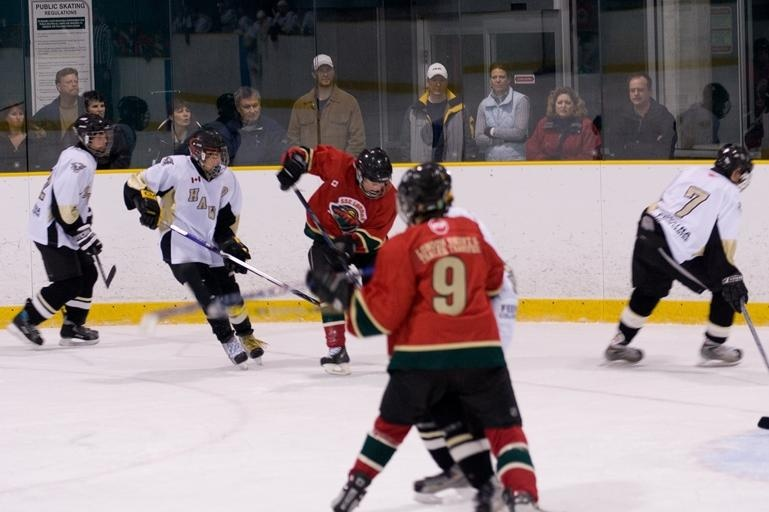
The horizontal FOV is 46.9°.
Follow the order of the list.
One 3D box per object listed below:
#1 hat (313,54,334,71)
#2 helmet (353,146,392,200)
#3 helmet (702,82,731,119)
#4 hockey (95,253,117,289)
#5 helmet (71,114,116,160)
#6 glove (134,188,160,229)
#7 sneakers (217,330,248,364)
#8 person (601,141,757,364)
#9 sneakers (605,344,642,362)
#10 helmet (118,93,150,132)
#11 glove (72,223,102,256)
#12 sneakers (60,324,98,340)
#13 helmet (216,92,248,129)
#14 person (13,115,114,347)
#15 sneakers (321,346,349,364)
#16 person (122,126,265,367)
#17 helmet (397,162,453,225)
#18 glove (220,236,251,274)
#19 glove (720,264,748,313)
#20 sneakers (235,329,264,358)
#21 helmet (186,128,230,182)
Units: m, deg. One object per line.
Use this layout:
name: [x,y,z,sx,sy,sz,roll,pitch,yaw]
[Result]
hat: [-0.533,-1.664,7.692,0.125,0.088,0.165,-1,-3,-2]
helmet: [-0.105,-0.584,5.969,0.276,0.292,0.297,-11,-34,-16]
helmet: [2.758,-1.317,7.447,0.270,0.257,0.203,6,23,6]
hockey: [-2.316,0.145,7.495,0.079,0.230,0.285,-22,45,-31]
helmet: [-2.229,-0.919,6.850,0.275,0.323,0.194,-5,13,-17]
glove: [-1.619,-0.308,6.143,0.102,0.262,0.168,-31,-26,29]
sneakers: [-1.098,0.674,6.401,0.102,0.117,0.293,-40,50,-2]
person: [2.108,0.001,6.288,0.855,1.524,0.462,3,13,18]
sneakers: [1.720,0.705,6.354,0.192,0.080,0.141,5,-5,-27]
helmet: [-2.192,-1.245,7.783,0.318,0.296,0.246,-1,12,-29]
glove: [-2.346,-0.130,6.986,0.188,0.233,0.113,-35,29,-24]
sneakers: [-2.461,0.621,7.162,0.259,0.159,0.131,-1,4,-15]
helmet: [-1.330,-1.271,7.792,0.270,0.359,0.267,-8,-32,-19]
person: [-2.507,-0.173,6.944,0.860,1.814,0.384,-6,13,-19]
sneakers: [-0.365,0.705,6.288,0.197,0.116,0.104,3,2,40]
person: [-1.350,-0.023,6.356,0.833,1.718,0.542,-5,13,-16]
helmet: [0.187,-0.312,4.361,0.309,0.300,0.246,1,10,28]
glove: [-1.099,-0.062,6.534,0.206,0.113,0.272,-19,-7,-20]
glove: [2.385,0.236,6.120,0.192,0.285,0.103,-27,0,-22]
sneakers: [-0.998,0.657,6.599,0.105,0.116,0.300,-12,10,-22]
helmet: [-1.248,-0.756,6.315,0.259,0.309,0.311,-11,27,-44]
